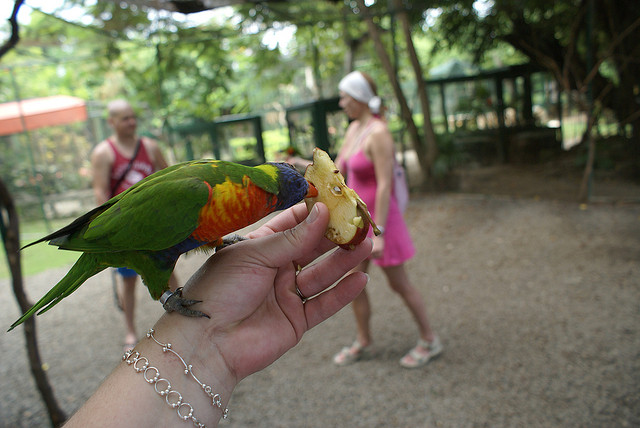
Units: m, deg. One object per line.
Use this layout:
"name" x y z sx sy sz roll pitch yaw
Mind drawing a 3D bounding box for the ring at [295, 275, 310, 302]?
"ring" -0.084 0.360 2.527 0.022 0.099 0.096 -15 28 -16

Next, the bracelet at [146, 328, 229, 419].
"bracelet" -0.601 0.698 2.394 0.349 0.385 0.230 -12 14 -32

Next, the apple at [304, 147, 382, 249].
"apple" 0.111 -0.112 2.328 0.094 0.468 0.249 -18 -21 -41
